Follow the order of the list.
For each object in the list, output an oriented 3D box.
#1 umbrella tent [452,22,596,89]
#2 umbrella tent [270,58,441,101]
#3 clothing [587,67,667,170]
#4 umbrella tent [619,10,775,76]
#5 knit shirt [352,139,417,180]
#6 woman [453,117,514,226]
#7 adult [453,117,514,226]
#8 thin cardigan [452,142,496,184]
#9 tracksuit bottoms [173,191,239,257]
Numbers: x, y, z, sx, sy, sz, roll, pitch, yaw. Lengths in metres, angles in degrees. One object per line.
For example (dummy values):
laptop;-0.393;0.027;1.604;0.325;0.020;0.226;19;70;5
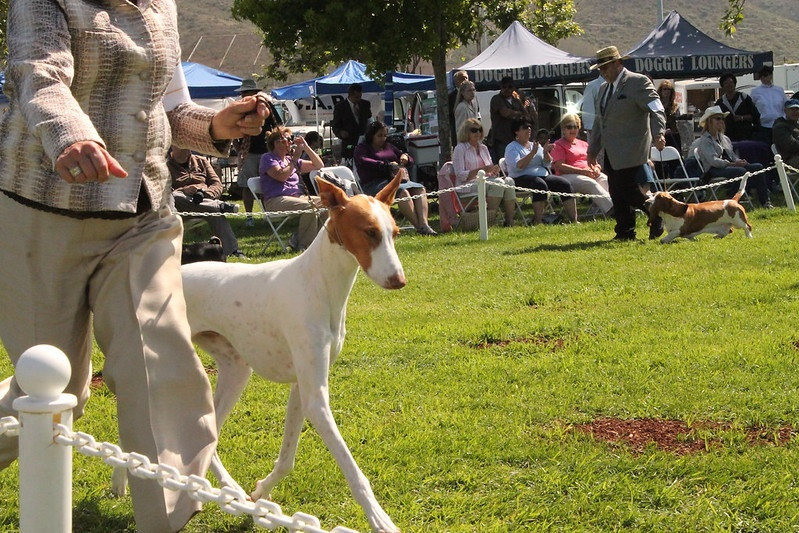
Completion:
umbrella tent;2.679;-4.130;23.241;1.952;0.895;2.017;11;20;30
umbrella tent;-0.886;-4.036;25.208;2.086;0.624;2.259;-1;4;14
clothing;2.981;-1.916;15.020;1.023;1.298;0.406;3;6;40
umbrella tent;5.898;-4.289;23.270;2.685;1.160;2.769;6;17;19
knit shirt;-0.252;-1.565;17.293;0.554;0.633;0.926;-3;3;41
woman;1.311;-1.420;17.426;0.987;1.645;0.990;-2;5;-13
adult;1.317;-1.420;17.418;1.012;1.644;1.009;-3;5;-21
thin cardigan;1.132;-1.547;17.408;0.773;0.764;0.422;-4;0;-35
tracksuit bottoms;-2.362;-0.508;13.927;0.265;0.914;0.536;-17;10;-22
